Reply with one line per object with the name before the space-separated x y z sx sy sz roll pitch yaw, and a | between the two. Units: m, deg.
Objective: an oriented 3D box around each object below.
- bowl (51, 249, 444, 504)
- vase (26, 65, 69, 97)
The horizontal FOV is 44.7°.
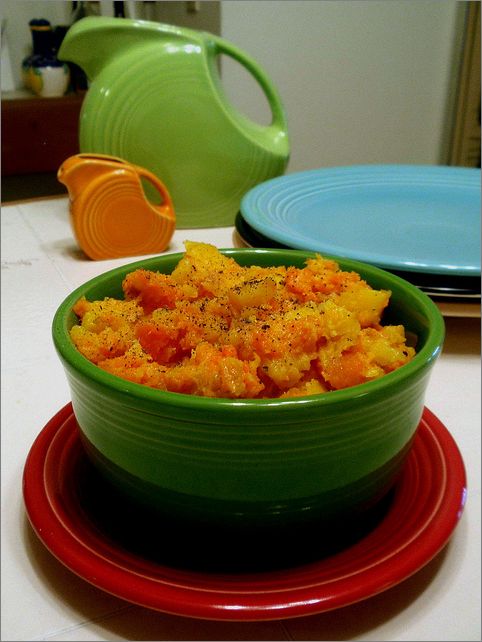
bowl | -0.003 0.017 0.370 0.239 0.068 0.237 2 24 -1
vase | -0.833 -1.045 2.542 0.167 0.135 0.136 -5 26 -17
